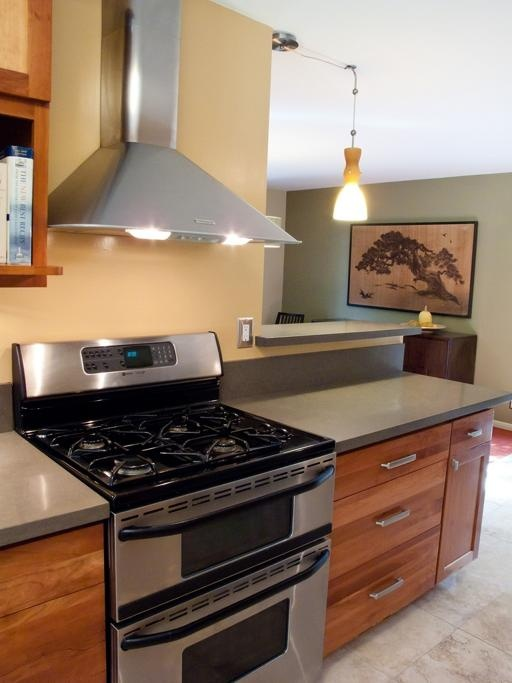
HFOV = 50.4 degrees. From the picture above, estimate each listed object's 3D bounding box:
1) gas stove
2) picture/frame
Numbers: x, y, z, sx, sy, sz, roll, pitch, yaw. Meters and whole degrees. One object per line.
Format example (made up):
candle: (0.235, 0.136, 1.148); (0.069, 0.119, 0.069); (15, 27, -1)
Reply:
gas stove: (-0.197, 0.269, 1.398); (0.661, 0.097, 0.533); (-3, 9, -42)
picture/frame: (1.534, -0.744, 5.547); (0.106, 0.903, 1.470); (-3, 9, -39)
